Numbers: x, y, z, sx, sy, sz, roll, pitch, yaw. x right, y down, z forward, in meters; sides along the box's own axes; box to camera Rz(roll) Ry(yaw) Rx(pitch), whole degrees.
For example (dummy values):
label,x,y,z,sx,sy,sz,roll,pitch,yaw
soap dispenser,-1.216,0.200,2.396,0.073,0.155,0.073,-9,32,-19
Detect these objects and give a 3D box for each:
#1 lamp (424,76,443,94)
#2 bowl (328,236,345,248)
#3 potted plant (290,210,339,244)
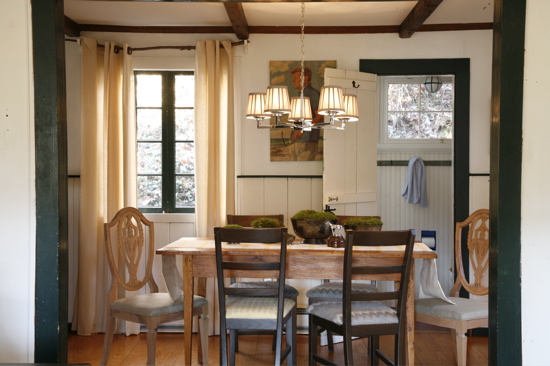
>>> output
label,x,y,z,sx,sy,sz,roll,pitch,yaw
lamp,2.110,-1.296,6.602,0.220,0.244,0.223,0,6,-8
bowl,0.532,0.512,4.253,0.102,0.064,0.104,1,-1,0
potted plant,0.339,0.420,4.307,0.316,0.240,0.334,1,-9,-1
